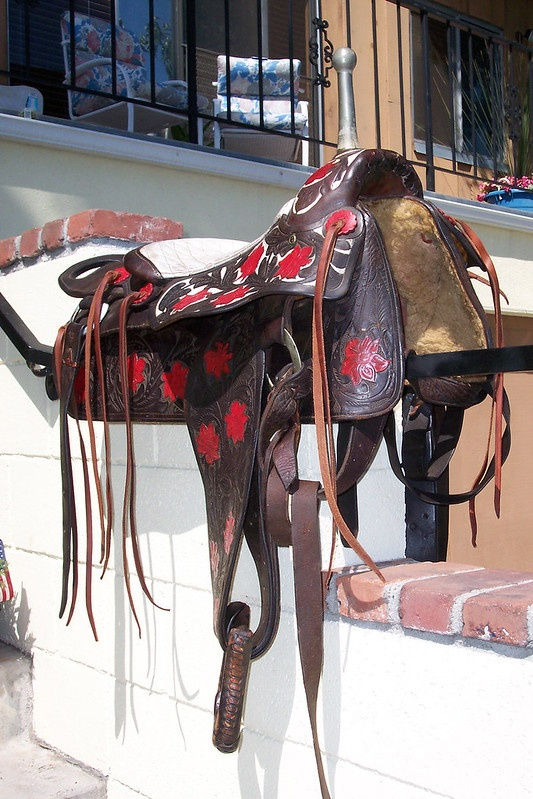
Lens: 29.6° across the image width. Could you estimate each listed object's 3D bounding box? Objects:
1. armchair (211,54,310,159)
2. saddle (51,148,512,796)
[{"bbox_3d":[-0.032,-1.352,4.691,0.413,0.488,0.542,4,17,4],"label":"armchair"},{"bbox_3d":[0.021,0.119,1.735,0.420,1.057,0.907,-8,14,-41],"label":"saddle"}]
